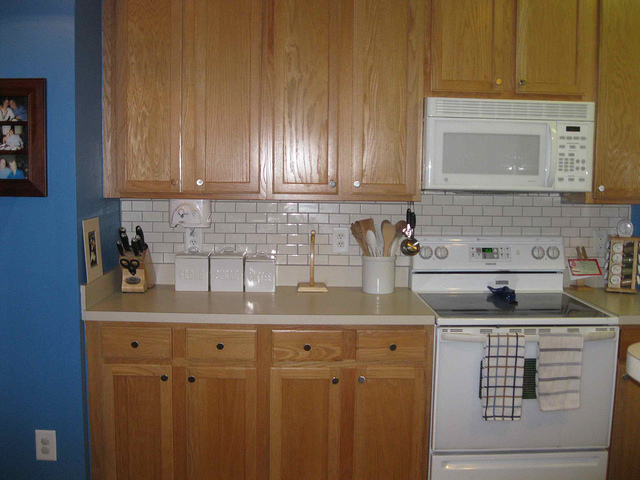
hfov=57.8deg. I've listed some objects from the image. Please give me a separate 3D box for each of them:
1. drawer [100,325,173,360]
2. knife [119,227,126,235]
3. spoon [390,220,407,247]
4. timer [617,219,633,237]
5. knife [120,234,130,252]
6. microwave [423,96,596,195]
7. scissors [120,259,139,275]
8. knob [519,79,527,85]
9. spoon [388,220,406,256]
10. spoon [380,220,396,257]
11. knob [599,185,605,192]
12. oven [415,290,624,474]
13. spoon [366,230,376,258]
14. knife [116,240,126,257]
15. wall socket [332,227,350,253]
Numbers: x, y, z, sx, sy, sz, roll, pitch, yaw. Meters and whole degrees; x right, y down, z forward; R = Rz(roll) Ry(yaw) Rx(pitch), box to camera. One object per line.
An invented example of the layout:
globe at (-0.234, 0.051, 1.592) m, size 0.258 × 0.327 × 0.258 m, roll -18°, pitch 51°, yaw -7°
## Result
drawer at (-1.045, 0.617, 3.296) m, size 0.404 × 0.209 × 0.284 m, roll 1°, pitch -23°, yaw -12°
knife at (-1.175, -0.054, 3.457) m, size 0.036 × 0.050 × 0.014 m, roll 2°, pitch 4°, yaw -5°
spoon at (0.471, -0.056, 3.508) m, size 0.020 × 0.110 × 0.071 m, roll 14°, pitch 8°, yaw -26°
timer at (1.962, -0.072, 3.742) m, size 0.096 × 0.122 × 0.043 m, roll -5°, pitch 6°, yaw 2°
knife at (-1.166, 0.020, 3.479) m, size 0.045 × 0.109 × 0.044 m, roll -5°, pitch 8°, yaw -27°
microwave at (1.096, -0.532, 3.612) m, size 1.010 × 0.574 × 0.537 m, roll 1°, pitch -3°, yaw -2°
scissors at (-1.145, 0.161, 3.495) m, size 0.096 × 0.104 × 0.011 m, roll 0°, pitch 24°, yaw -1°
knob at (1.178, -0.923, 3.375) m, size 0.030 × 0.026 × 0.016 m, roll 4°, pitch 18°, yaw -16°
spoon at (0.471, -0.011, 3.508) m, size 0.048 × 0.231 × 0.037 m, roll 9°, pitch 16°, yaw 9°
spoon at (0.415, -0.017, 3.556) m, size 0.065 × 0.233 × 0.029 m, roll 2°, pitch 13°, yaw 13°
knob at (1.675, -0.311, 3.467) m, size 0.030 × 0.032 × 0.010 m, roll 4°, pitch 5°, yaw 2°
oven at (1.125, 0.720, 3.529) m, size 1.174 × 1.139 × 0.847 m, roll 0°, pitch -2°, yaw -3°
spoon at (0.305, 0.016, 3.503) m, size 0.035 × 0.146 × 0.019 m, roll -5°, pitch 15°, yaw 8°
knife at (-1.197, 0.050, 3.481) m, size 0.023 × 0.106 × 0.026 m, roll 13°, pitch 35°, yaw 38°
wall socket at (0.129, -0.007, 3.739) m, size 0.143 × 0.222 × 0.021 m, roll 1°, pitch 3°, yaw -3°
